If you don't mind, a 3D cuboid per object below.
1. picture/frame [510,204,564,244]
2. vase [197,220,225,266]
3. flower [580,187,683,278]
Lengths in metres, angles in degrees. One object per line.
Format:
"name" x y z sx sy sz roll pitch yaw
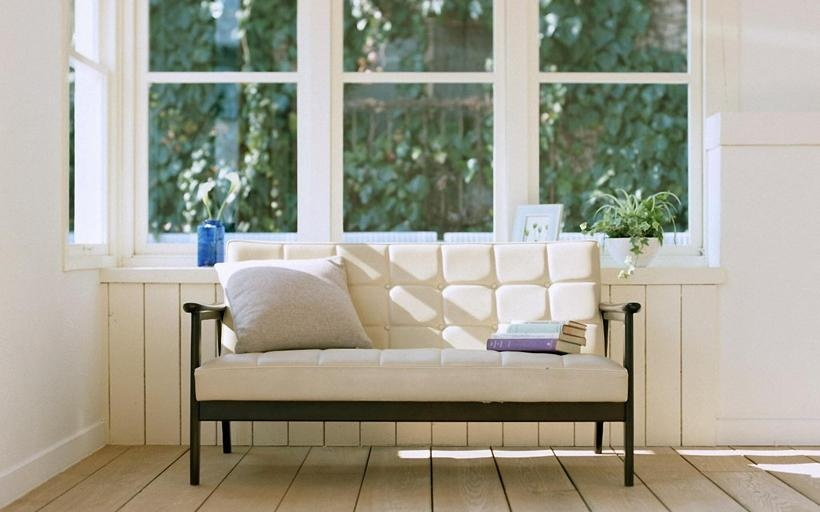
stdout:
"picture/frame" 0.813 -0.205 5.808 0.249 0.245 0.025 6 -8 34
"vase" -1.265 -0.087 5.837 0.190 0.268 0.187 -3 3 -27
"flower" 1.438 -0.149 5.733 0.422 0.449 0.531 -1 1 41
